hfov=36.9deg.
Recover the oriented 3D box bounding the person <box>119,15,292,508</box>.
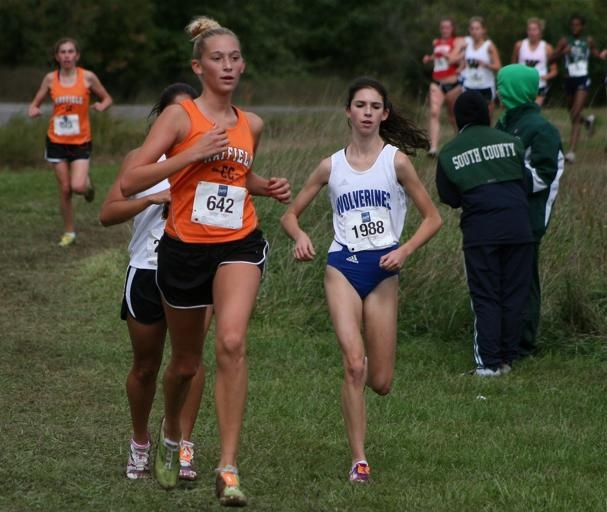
[{"bbox_3d":[-0.538,0.065,5.595,0.881,2.802,0.799,13,18,39],"label":"person"}]

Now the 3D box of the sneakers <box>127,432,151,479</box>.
[{"bbox_3d":[-1.078,1.301,5.946,0.103,0.315,0.113,1,-10,-12],"label":"sneakers"}]

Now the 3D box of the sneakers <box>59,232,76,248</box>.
[{"bbox_3d":[-2.859,-0.188,10.962,0.094,0.125,0.280,0,15,8],"label":"sneakers"}]

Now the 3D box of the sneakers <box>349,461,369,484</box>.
[{"bbox_3d":[0.367,1.409,5.982,0.135,0.167,0.176,2,16,2],"label":"sneakers"}]

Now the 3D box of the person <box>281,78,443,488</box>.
[{"bbox_3d":[0.425,0.089,6.320,0.901,2.555,1.198,12,18,39],"label":"person"}]

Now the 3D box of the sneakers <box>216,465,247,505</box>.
[{"bbox_3d":[-0.430,1.372,5.321,0.162,0.258,0.194,-2,15,-11],"label":"sneakers"}]

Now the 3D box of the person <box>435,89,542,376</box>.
[{"bbox_3d":[1.576,-0.201,7.812,0.588,2.344,0.712,-13,19,-43],"label":"person"}]

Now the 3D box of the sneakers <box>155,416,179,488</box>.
[{"bbox_3d":[-0.868,1.227,5.793,0.140,0.462,0.183,-1,5,-16],"label":"sneakers"}]

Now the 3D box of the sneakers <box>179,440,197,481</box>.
[{"bbox_3d":[-0.789,1.362,6.062,0.137,0.187,0.415,10,1,-11],"label":"sneakers"}]
